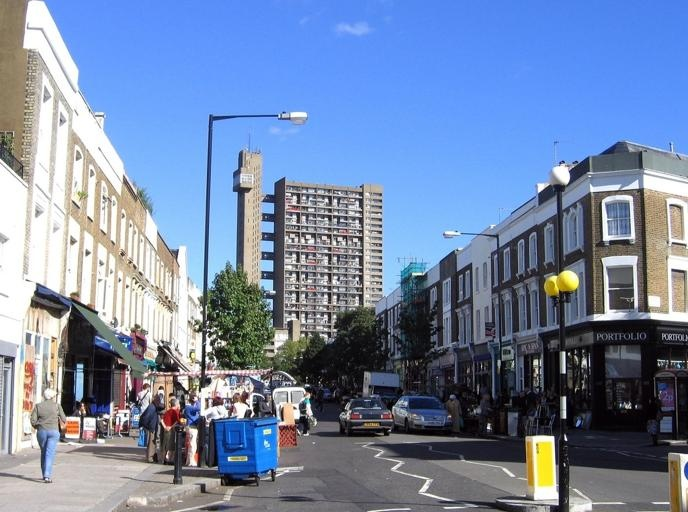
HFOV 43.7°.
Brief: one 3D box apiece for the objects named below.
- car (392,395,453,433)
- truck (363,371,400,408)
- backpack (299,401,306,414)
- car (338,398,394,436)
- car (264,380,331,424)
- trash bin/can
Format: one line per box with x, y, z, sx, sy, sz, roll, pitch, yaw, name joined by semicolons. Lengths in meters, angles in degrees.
3.568;7.181;38.216;1.885;1.850;2.130;1;-8;-16;car
2.603;8.077;53.782;1.111;1.560;2.438;1;-11;-9;truck
-1.857;6.919;38.951;0.270;0.620;0.473;1;-15;-5;backpack
0.949;7.013;36.999;1.976;1.525;3.708;0;-3;-5;car
-2.188;7.082;39.822;2.143;2.555;4.000;0;0;-3;car
-2.644;5.204;23.136;1.275;2.038;1.835;-2;-6;11;trash bin/can
